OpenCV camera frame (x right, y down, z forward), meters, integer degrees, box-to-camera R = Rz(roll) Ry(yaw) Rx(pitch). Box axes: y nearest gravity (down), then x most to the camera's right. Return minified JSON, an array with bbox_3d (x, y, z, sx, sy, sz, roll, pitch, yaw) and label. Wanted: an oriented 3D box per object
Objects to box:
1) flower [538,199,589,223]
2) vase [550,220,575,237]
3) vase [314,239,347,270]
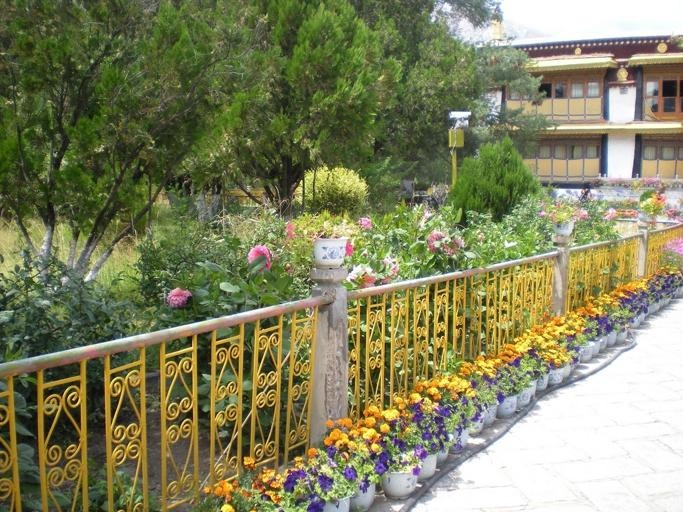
[{"bbox_3d":[3.517,-0.699,12.266,0.383,0.251,0.389,14,19,43],"label":"flower"},{"bbox_3d":[2.676,-0.326,9.344,0.220,0.197,0.244,3,8,20],"label":"vase"},{"bbox_3d":[-0.102,-0.023,6.236,0.214,0.205,0.239,1,1,6],"label":"vase"}]
